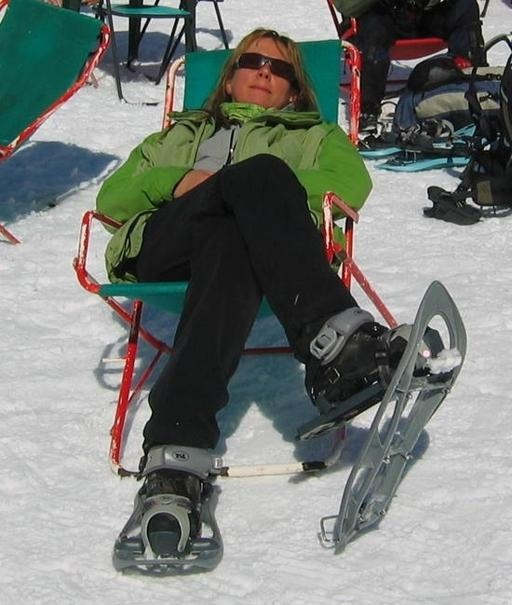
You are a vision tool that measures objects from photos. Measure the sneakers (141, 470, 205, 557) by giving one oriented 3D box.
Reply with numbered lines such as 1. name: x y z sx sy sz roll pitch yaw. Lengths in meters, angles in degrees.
1. sneakers: -0.174 0.430 1.418 0.164 0.160 0.190 4 -2 0

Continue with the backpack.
1. backpack: 1.083 -1.127 4.174 0.785 0.460 0.311 -4 -36 22

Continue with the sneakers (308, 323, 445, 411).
1. sneakers: 0.222 0.145 1.529 0.107 0.260 0.191 59 27 10

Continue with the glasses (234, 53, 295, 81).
1. glasses: 0.030 -0.888 2.589 0.162 0.035 0.140 6 -4 -4
